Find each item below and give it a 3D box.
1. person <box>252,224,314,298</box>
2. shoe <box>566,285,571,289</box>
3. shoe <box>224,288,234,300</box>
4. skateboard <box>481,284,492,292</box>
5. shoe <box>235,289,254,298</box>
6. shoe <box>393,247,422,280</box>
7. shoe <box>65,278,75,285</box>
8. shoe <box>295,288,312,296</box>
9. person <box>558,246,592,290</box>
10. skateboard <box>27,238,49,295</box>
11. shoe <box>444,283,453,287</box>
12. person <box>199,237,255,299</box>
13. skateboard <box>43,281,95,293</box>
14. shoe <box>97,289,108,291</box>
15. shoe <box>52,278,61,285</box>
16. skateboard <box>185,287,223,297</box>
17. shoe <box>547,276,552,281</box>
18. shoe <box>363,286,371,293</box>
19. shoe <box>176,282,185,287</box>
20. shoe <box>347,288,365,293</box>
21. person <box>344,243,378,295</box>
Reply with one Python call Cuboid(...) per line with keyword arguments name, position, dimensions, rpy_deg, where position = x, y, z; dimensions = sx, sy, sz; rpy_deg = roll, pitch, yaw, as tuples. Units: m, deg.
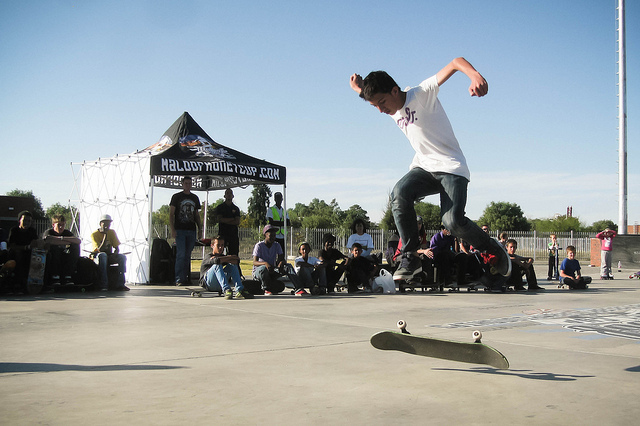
Cuboid(name="person", position=(-0.956, 1.079, 10.144), dimensions=(1.065, 1.541, 1.434), rpy_deg=(7, -14, -41))
Cuboid(name="shoe", position=(6.027, 1.805, 11.695), dimensions=(0.089, 0.092, 0.027), rpy_deg=(13, -15, -26))
Cuboid(name="shoe", position=(-1.631, 1.437, 8.552), dimensions=(0.119, 0.131, 0.285), rpy_deg=(2, -13, -10))
Cuboid(name="skateboard", position=(3.633, 1.652, 10.476), dimensions=(0.138, 0.207, 0.060), rpy_deg=(10, 28, 32))
Cuboid(name="shoe", position=(-1.350, 1.454, 8.709), dimensions=(0.179, 0.175, 0.465), rpy_deg=(-1, -4, 29))
Cuboid(name="shoe", position=(1.612, 0.945, 9.021), dimensions=(0.290, 0.546, 0.884), rpy_deg=(-9, 0, 37))
Cuboid(name="shoe", position=(-4.916, 1.346, 9.460), dimensions=(0.145, 0.134, 0.147), rpy_deg=(5, -11, -19))
Cuboid(name="shoe", position=(-0.337, 1.589, 9.586), dimensions=(0.345, 0.151, 0.118), rpy_deg=(-11, -12, 40))
Cuboid(name="person", position=(6.188, 1.327, 11.845), dimensions=(0.750, 1.000, 0.651), rpy_deg=(-2, 3, -20))
Cuboid(name="skateboard", position=(-5.153, 0.988, 8.801), dimensions=(0.267, 1.006, 0.352), rpy_deg=(1, -3, -17))
Cuboid(name="shoe", position=(2.748, 1.539, 10.327), dimensions=(0.236, 0.072, 0.062), rpy_deg=(2, -4, -26))
Cuboid(name="person", position=(-1.768, 0.998, 8.967), dimensions=(0.565, 1.102, 1.154), rpy_deg=(3, -4, -45))
Cuboid(name="skateboard", position=(-4.807, 1.431, 9.340), dimensions=(0.920, 0.163, 0.101), rpy_deg=(8, -45, -39))
Cuboid(name="shoe", position=(-4.446, 1.564, 9.817), dimensions=(0.216, 0.039, 0.096), rpy_deg=(0, -3, 9))
Cuboid(name="shoe", position=(-5.094, 1.324, 9.270), dimensions=(0.189, 0.108, 0.174), rpy_deg=(-5, -3, -19))
Cuboid(name="skateboard", position=(-2.117, 1.432, 8.901), dimensions=(0.799, 0.123, 0.210), rpy_deg=(3, -8, -1))
Cuboid(name="shoe", position=(7.658, 2.192, 16.073), dimensions=(0.110, 0.117, 0.113), rpy_deg=(1, 7, 15))
Cuboid(name="shoe", position=(0.999, 1.625, 10.231), dimensions=(0.105, 0.098, 0.026), rpy_deg=(5, -17, 18))
Cuboid(name="shoe", position=(-3.314, 1.701, 11.415), dimensions=(0.216, 0.096, 0.076), rpy_deg=(-3, -3, 27))
Cuboid(name="shoe", position=(0.771, 1.650, 10.296), dimensions=(0.346, 0.073, 0.444), rpy_deg=(0, -3, 2))
Cuboid(name="person", position=(0.828, 1.114, 10.489), dimensions=(0.786, 0.983, 0.501), rpy_deg=(-11, 23, 6))
